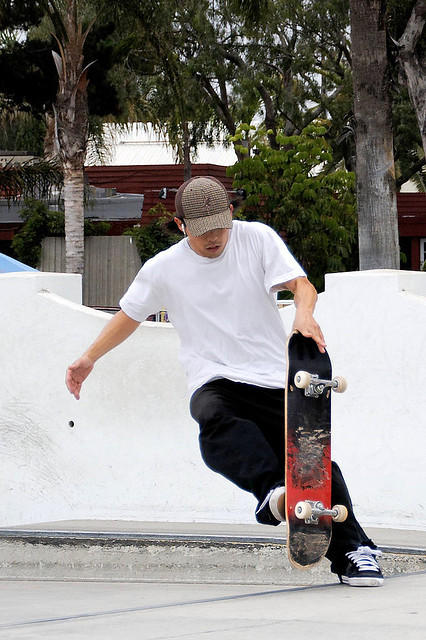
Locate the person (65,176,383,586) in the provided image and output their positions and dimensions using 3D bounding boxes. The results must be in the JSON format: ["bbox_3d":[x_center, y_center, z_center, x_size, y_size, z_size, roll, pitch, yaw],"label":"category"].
[{"bbox_3d":[0.041,0.119,5.824,1.150,1.613,0.454,-2,-1,43],"label":"person"}]

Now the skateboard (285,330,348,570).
[{"bbox_3d":[0.437,0.568,5.430,0.336,1.052,0.151,0,-1,-38],"label":"skateboard"}]

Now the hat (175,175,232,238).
[{"bbox_3d":[-0.049,-0.537,5.787,0.261,0.309,0.256,-1,-1,-3],"label":"hat"}]
